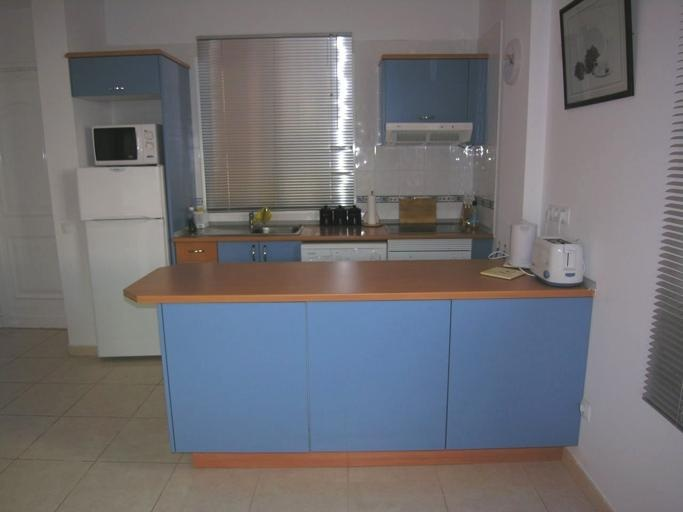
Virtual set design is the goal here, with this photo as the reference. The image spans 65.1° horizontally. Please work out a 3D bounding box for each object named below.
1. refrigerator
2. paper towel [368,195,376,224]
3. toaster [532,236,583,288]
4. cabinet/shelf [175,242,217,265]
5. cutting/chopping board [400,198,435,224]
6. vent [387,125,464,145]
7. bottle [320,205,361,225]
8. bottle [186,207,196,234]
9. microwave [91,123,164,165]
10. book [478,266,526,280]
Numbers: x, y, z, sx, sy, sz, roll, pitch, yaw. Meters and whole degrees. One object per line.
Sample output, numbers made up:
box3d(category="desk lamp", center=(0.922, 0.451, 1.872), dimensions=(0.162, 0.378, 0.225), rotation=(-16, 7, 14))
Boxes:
box3d(category="refrigerator", center=(-1.890, 0.071, 4.816), dimensions=(0.698, 1.471, 0.579), rotation=(-6, -19, -4))
box3d(category="paper towel", center=(0.293, -0.455, 5.131), dimensions=(0.090, 0.273, 0.186), rotation=(0, 14, 3))
box3d(category="toaster", center=(1.320, 0.018, 3.297), dimensions=(0.210, 0.272, 0.362), rotation=(-1, 9, -3))
box3d(category="cabinet/shelf", center=(-1.295, -0.051, 4.755), dimensions=(0.304, 0.288, 0.204), rotation=(0, 4, -5))
box3d(category="cutting/chopping board", center=(0.743, -0.451, 5.190), dimensions=(0.417, 0.300, 0.214), rotation=(0, 10, 1))
box3d(category="vent", center=(0.774, -1.112, 4.814), dimensions=(0.762, 0.174, 0.227), rotation=(2, 14, 11))
box3d(category="bottle", center=(-0.016, -0.409, 5.211), dimensions=(0.404, 0.177, 0.207), rotation=(-1, 14, -2))
box3d(category="bottle", center=(-1.412, -0.354, 5.013), dimensions=(0.086, 0.195, 0.336), rotation=(-5, 15, -15))
box3d(category="microwave", center=(-1.860, -0.951, 4.728), dimensions=(0.565, 0.365, 0.359), rotation=(-2, 1, 4))
box3d(category="book", center=(1.041, 0.097, 3.395), dimensions=(0.268, 0.028, 0.193), rotation=(-11, 17, -36))
